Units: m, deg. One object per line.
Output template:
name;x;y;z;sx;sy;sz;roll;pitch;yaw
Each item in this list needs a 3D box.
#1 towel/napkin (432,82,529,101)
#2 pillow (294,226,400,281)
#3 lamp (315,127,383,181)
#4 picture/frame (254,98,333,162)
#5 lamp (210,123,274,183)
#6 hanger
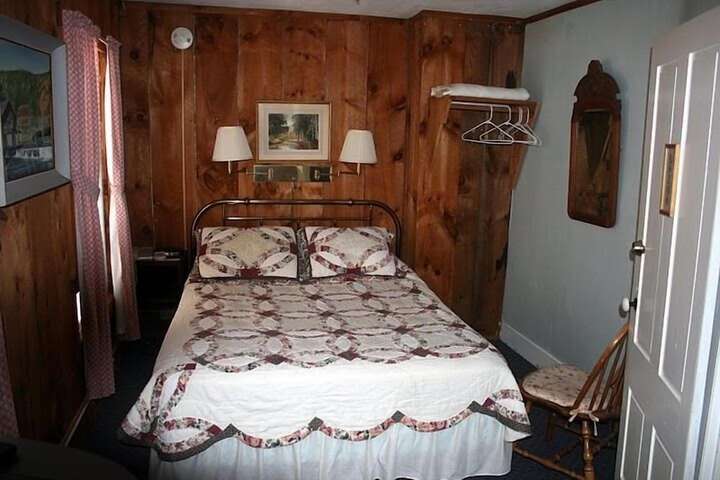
towel/napkin;1.062;-1.306;4.524;0.813;0.144;0.318;0;10;-6
pillow;-0.078;0.121;4.466;0.637;0.155;0.471;-1;54;-14
lamp;-0.058;-0.852;4.975;0.580;0.488;0.417;7;10;41
picture/frame;-0.651;-1.065;4.843;0.609;0.452;0.021;0;4;-12
lamp;-1.137;-0.808;4.664;0.360;0.444;0.321;-1;11;-12
hanger;1.292;-1.038;4.637;1.017;0.406;0.303;2;13;3
